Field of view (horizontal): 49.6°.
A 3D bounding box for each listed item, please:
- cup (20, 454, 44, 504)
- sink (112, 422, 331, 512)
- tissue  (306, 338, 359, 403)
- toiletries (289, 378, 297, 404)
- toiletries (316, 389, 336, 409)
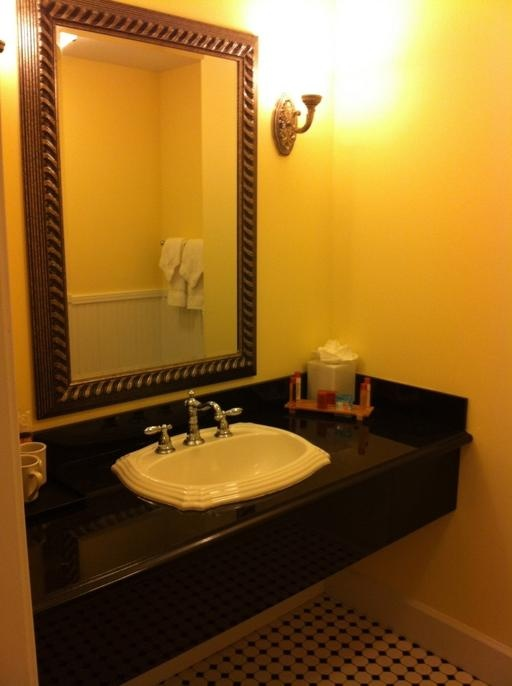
[{"bbox_3d":[-0.508,0.309,1.271,0.043,0.102,0.133,-4,11,-22],"label":"cup"},{"bbox_3d":[-0.082,0.343,1.457,0.510,0.118,0.375,-9,13,-41],"label":"sink"},{"bbox_3d":[0.277,0.112,2.046,0.186,0.213,0.282,2,10,10],"label":"tissue "},{"bbox_3d":[0.126,0.168,1.980,0.027,0.088,0.024,-8,12,-42],"label":"toiletries"},{"bbox_3d":[0.241,0.198,1.930,0.062,0.059,0.032,1,9,6],"label":"toiletries"}]
